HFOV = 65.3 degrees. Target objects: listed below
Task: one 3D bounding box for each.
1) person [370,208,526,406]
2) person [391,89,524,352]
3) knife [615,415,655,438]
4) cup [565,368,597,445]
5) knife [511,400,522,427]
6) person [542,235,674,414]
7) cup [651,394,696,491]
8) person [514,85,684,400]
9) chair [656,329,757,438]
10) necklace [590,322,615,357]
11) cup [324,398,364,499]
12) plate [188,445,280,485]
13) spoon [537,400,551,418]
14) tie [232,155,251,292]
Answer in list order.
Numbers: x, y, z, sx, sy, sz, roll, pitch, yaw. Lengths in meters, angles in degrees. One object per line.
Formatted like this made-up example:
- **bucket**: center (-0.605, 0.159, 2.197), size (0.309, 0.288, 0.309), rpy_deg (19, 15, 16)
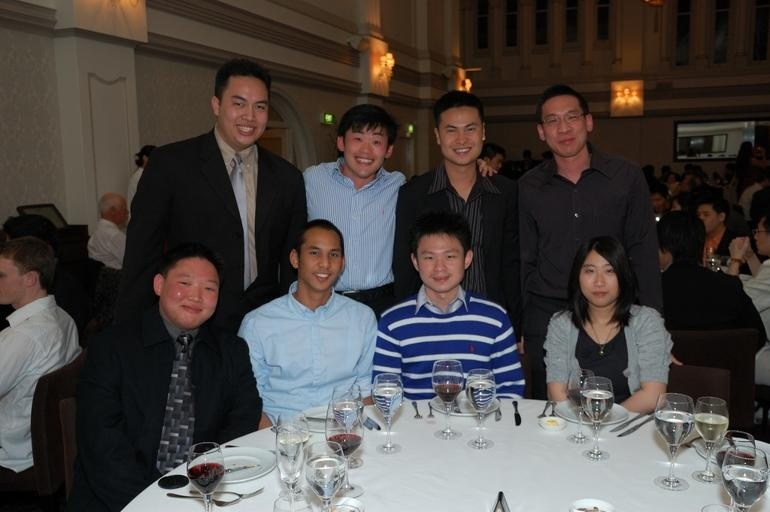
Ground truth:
- **person**: center (0.312, 0.322, 3.032), size (0.802, 1.039, 0.575), rpy_deg (-1, 2, 4)
- **person**: center (0.495, 0.167, 3.611), size (0.725, 2.209, 0.674), rpy_deg (-3, 12, 4)
- **knife**: center (1.032, 0.691, 2.448), size (0.067, 0.006, 0.258), rpy_deg (14, 22, 36)
- **cup**: center (0.799, 0.608, 2.448), size (0.118, 0.277, 0.117), rpy_deg (-3, -2, 0)
- **knife**: center (0.564, 0.669, 2.544), size (0.030, 0.008, 0.206), rpy_deg (1, 6, 12)
- **person**: center (1.087, 0.357, 3.018), size (0.592, 0.889, 0.507), rpy_deg (-3, -5, 33)
- **cup**: center (1.044, 0.661, 2.164), size (0.124, 0.268, 0.222), rpy_deg (6, 16, 26)
- **person**: center (1.118, 0.346, 3.504), size (0.603, 2.586, 0.810), rpy_deg (-11, 12, -44)
- **chair**: center (1.526, 0.686, 2.997), size (0.488, 0.569, 0.497), rpy_deg (8, -5, 7)
- **necklace**: center (1.099, 0.421, 2.996), size (0.137, 0.193, 0.081), rpy_deg (8, 0, 19)
- **cup**: center (-0.146, 0.718, 2.265), size (0.157, 0.337, 0.157), rpy_deg (-4, -9, -1)
- **plate**: center (-0.538, 0.747, 2.136), size (0.159, 0.021, 0.156), rpy_deg (-7, 17, -40)
- **spoon**: center (0.683, 0.652, 2.571), size (0.028, 0.018, 0.170), rpy_deg (15, 15, 18)
- **tie**: center (-0.755, -0.164, 3.229), size (0.069, 0.697, 0.055), rpy_deg (-1, 12, 22)
